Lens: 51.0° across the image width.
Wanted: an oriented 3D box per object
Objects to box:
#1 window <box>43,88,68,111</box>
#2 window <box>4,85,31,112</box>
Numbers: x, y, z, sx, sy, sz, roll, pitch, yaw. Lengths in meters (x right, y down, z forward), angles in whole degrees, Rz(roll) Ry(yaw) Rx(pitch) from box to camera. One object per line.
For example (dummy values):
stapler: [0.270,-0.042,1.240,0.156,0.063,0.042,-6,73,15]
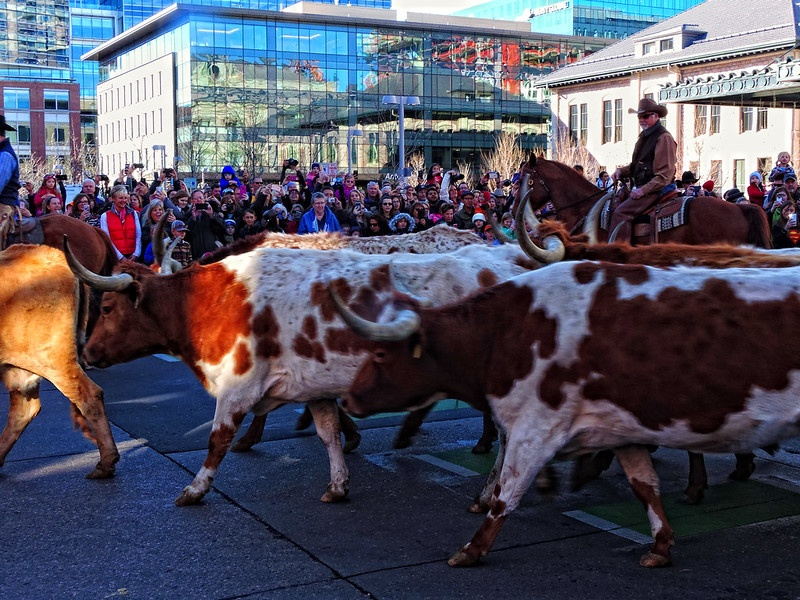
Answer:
window: [-39.931,-22.647,96.270,2.968,2.562,1.171,-3,13,-24]
window: [-43.054,-22.134,93.474,3.506,3.062,1.269,-1,2,-27]
